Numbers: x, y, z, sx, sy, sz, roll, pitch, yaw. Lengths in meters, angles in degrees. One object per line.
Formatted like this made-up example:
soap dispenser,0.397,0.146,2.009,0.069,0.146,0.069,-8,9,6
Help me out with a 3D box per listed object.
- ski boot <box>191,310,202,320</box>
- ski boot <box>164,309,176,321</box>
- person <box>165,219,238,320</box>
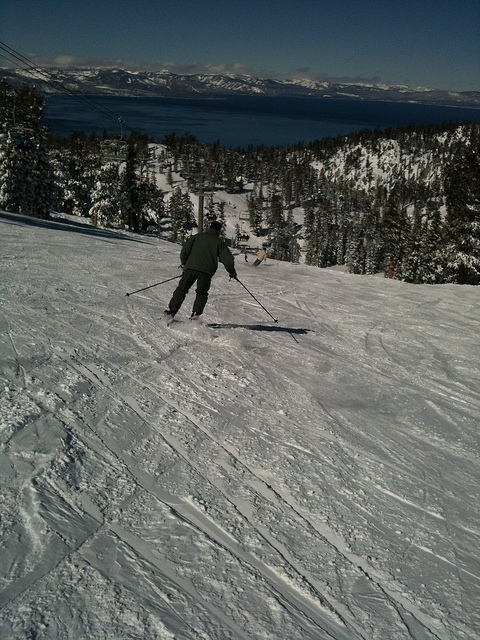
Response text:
ski boot,-0.745,-0.088,9.243,0.133,0.073,0.247,13,31,2
ski boot,-1.163,-0.083,8.930,0.126,0.168,0.097,-1,9,5
person,-0.652,-0.799,8.828,1.059,1.709,0.558,3,11,-8
